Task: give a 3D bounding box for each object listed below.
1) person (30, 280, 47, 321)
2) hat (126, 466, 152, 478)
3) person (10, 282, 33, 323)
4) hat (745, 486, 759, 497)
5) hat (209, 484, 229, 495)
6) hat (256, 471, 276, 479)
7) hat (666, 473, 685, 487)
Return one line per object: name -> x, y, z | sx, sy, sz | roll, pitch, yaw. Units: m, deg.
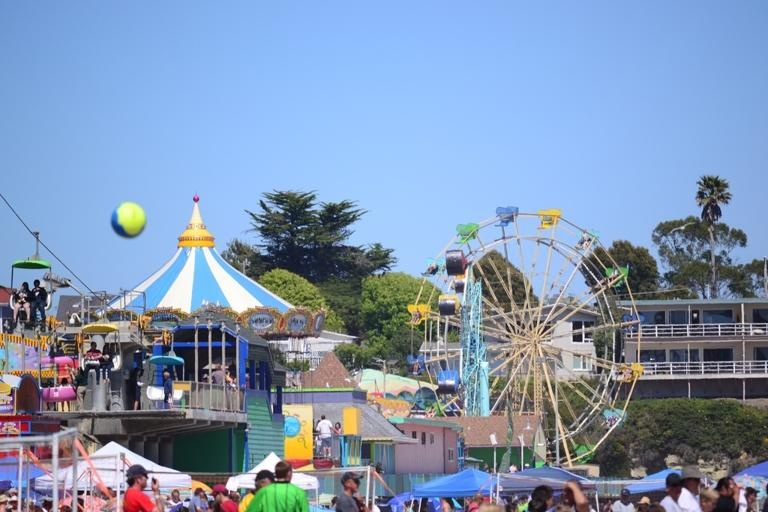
person -> -14.712, 1.819, 75.036 | 0.598, 1.669, 1.526 | 1, -9, -6
hat -> -8.569, 7.378, 60.993 | 0.553, 0.556, 0.442 | 1, -6, -32
person -> -15.566, 1.961, 74.906 | 0.710, 1.741, 1.309 | 8, -11, -42
hat -> 13.216, 8.464, 63.517 | 0.294, 0.427, 0.424 | 1, -46, -24
hat -> -5.998, 8.423, 63.796 | 0.500, 0.276, 0.378 | 6, 4, 27
hat -> -4.131, 7.553, 61.422 | 0.598, 0.340, 0.434 | 2, -9, -10
hat -> 9.985, 7.587, 60.455 | 0.565, 0.448, 0.527 | 0, -9, 6
